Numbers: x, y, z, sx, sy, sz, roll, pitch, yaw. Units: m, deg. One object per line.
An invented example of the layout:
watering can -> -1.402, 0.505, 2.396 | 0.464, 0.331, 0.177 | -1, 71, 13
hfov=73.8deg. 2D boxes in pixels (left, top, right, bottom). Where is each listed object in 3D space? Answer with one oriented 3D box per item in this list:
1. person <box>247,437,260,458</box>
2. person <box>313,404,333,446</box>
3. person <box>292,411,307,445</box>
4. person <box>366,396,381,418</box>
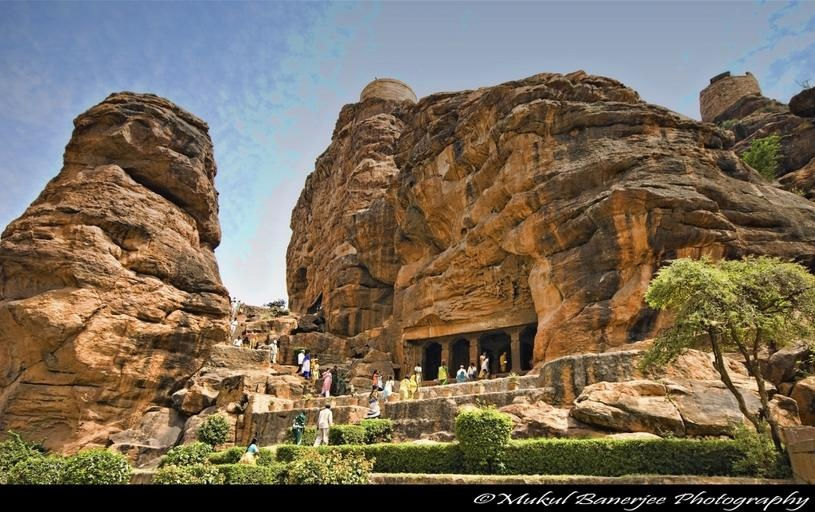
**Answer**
person -> -5.421, 6.728, 19.108 | 0.419, 0.571, 0.950 | 5, -22, -14
person -> -3.040, 6.109, 19.768 | 0.596, 1.472, 1.109 | 2, -22, -9
person -> -4.184, 6.563, 20.819 | 0.495, 1.161, 0.496 | -1, -23, -1
person -> -1.221, 6.014, 21.584 | 0.750, 0.741, 0.704 | -1, -4, 3
